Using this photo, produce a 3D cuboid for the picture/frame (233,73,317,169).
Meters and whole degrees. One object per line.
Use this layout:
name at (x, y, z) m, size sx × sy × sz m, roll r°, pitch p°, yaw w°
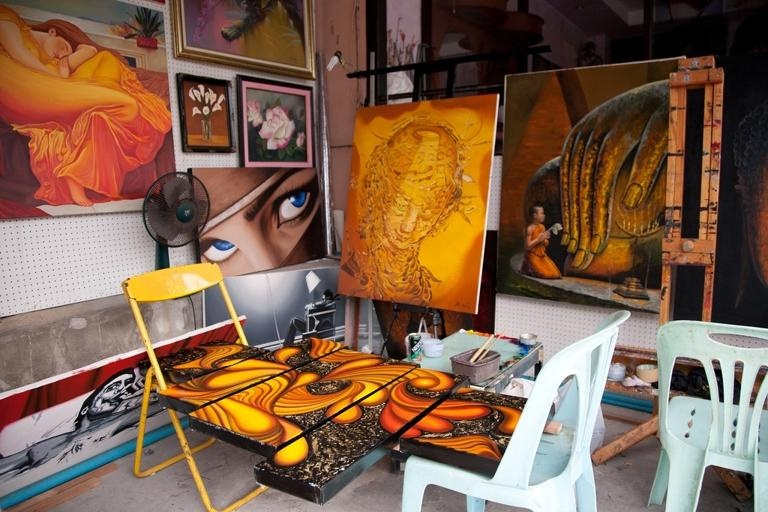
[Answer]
picture/frame at (-0.942, -1.137, 4.349) m, size 0.043 × 0.727 × 0.794 m, roll 13°, pitch 18°, yaw 38°
